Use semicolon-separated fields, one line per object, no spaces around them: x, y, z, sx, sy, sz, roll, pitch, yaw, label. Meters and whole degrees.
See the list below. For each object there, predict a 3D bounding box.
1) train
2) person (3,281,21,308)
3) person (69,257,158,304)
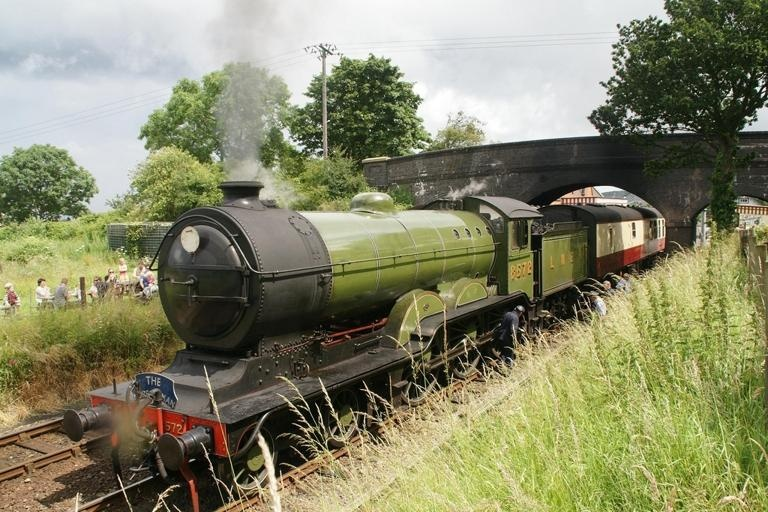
1.734;0.791;15.413;4.233;5.148;17.861;-1;3;31;train
-9.947;1.069;15.253;0.332;0.674;1.570;-11;11;-34;person
-8.030;0.749;16.920;1.096;0.578;1.670;5;11;15;person
